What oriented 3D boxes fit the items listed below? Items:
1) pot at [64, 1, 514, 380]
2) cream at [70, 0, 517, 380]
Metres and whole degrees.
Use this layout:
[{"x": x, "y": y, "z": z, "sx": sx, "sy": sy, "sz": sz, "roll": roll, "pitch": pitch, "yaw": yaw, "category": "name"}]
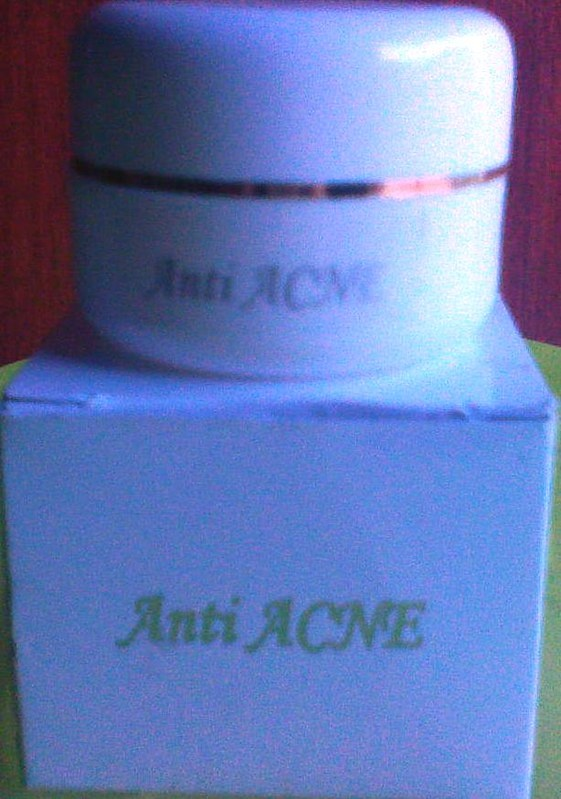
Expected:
[{"x": 0.004, "y": -0.069, "z": 0.339, "sx": 0.148, "sy": 0.098, "sz": 0.140, "roll": 1, "pitch": 18, "yaw": 0, "category": "pot"}, {"x": 0.001, "y": -0.068, "z": 0.338, "sx": 0.148, "sy": 0.098, "sz": 0.140, "roll": 1, "pitch": 18, "yaw": 1, "category": "cream"}]
